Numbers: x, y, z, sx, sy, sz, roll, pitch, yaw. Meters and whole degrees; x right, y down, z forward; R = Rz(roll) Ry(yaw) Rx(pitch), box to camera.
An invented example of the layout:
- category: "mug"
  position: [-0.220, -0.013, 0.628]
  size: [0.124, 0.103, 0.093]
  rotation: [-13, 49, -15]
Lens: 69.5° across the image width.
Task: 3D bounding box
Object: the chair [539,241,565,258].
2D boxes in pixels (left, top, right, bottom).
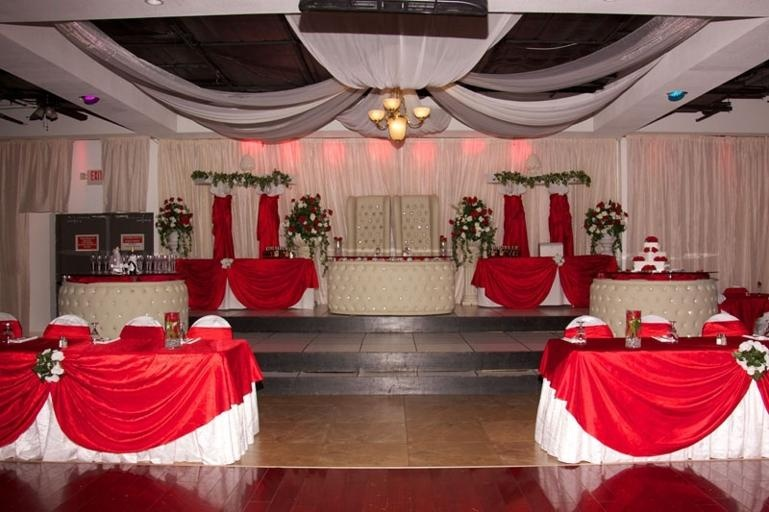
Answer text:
- category: "chair"
  position: [3.332, -0.139, 11.130]
  size: [0.458, 0.277, 0.433]
  rotation: [0, 0, 15]

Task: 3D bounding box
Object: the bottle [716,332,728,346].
- category: "bottle"
  position: [3.459, 0.855, 5.704]
  size: [0.045, 0.120, 0.086]
  rotation: [17, -17, -38]

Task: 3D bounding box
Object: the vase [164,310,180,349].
- category: "vase"
  position: [-2.185, 0.747, 5.671]
  size: [0.190, 0.338, 0.175]
  rotation: [0, -4, -23]

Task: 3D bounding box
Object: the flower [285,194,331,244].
- category: "flower"
  position: [-1.549, -0.676, 11.395]
  size: [0.867, 0.898, 0.860]
  rotation: [-9, -7, -2]

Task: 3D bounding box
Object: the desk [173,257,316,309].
- category: "desk"
  position: [-2.694, 0.549, 11.018]
  size: [3.124, 1.029, 0.839]
  rotation: [-1, -2, 14]

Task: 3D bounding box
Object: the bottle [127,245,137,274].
- category: "bottle"
  position: [-3.660, 0.115, 8.086]
  size: [0.109, 0.277, 0.497]
  rotation: [0, 0, -24]

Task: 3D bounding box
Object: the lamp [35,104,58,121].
- category: "lamp"
  position: [-6.096, -2.582, 10.137]
  size: [0.317, 0.171, 0.477]
  rotation: [16, 11, -5]

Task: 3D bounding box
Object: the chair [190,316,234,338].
- category: "chair"
  position: [-1.948, 0.785, 6.161]
  size: [0.432, 0.233, 0.237]
  rotation: [0, 0, -20]

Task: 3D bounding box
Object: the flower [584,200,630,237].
- category: "flower"
  position: [4.584, -0.774, 11.606]
  size: [0.849, 0.615, 0.796]
  rotation: [1, 4, -6]

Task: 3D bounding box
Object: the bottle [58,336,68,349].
- category: "bottle"
  position: [-3.300, 0.889, 5.697]
  size: [0.090, 0.137, 0.139]
  rotation: [1, -7, -12]

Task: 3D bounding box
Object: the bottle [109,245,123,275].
- category: "bottle"
  position: [-3.851, 0.071, 7.981]
  size: [0.146, 0.360, 0.506]
  rotation: [0, 0, -25]

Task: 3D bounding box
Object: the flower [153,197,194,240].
- category: "flower"
  position: [-4.370, -0.837, 11.851]
  size: [0.904, 1.065, 0.887]
  rotation: [3, 7, 26]

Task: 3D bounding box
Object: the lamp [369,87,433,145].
- category: "lamp"
  position: [0.205, -2.419, 8.968]
  size: [0.834, 1.224, 1.012]
  rotation: [-1, 5, -13]

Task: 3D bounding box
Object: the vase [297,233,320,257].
- category: "vase"
  position: [-1.550, -0.217, 11.253]
  size: [0.416, 0.320, 0.435]
  rotation: [1, -3, 10]

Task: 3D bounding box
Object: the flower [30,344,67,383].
- category: "flower"
  position: [-3.255, 1.064, 5.396]
  size: [0.311, 0.304, 0.128]
  rotation: [1, -12, -4]

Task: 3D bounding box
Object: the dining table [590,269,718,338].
- category: "dining table"
  position: [3.842, 0.578, 7.887]
  size: [1.197, 0.718, 1.198]
  rotation: [-1, -7, 16]

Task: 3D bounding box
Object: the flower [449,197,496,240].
- category: "flower"
  position: [1.794, -0.735, 11.601]
  size: [0.956, 0.958, 0.908]
  rotation: [1, 3, 9]

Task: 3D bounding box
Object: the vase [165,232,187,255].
- category: "vase"
  position: [-4.332, -0.255, 11.680]
  size: [0.490, 0.555, 0.452]
  rotation: [-3, -4, 7]

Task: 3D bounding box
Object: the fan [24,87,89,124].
- category: "fan"
  position: [-6.076, -2.773, 10.457]
  size: [0.644, 0.605, 1.212]
  rotation: [0, 0, 11]
